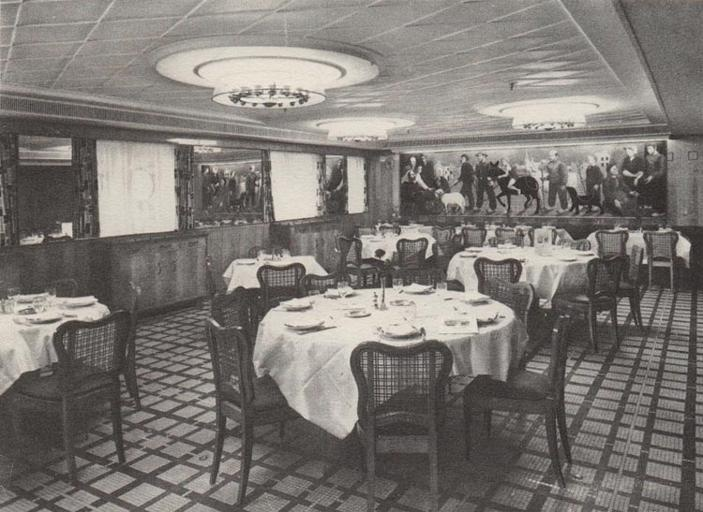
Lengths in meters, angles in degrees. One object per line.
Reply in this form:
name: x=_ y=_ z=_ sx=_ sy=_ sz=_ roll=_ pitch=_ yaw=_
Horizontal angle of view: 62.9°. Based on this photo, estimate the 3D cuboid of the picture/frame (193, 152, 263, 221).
picture/frame: x=-2.531 y=-1.361 z=11.892 sx=1.980 sy=1.264 sz=0.032 roll=3 pitch=2 yaw=29

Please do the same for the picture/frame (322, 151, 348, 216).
picture/frame: x=-0.410 y=-1.783 z=14.704 sx=0.183 sy=1.455 sz=1.026 roll=6 pitch=14 yaw=29
